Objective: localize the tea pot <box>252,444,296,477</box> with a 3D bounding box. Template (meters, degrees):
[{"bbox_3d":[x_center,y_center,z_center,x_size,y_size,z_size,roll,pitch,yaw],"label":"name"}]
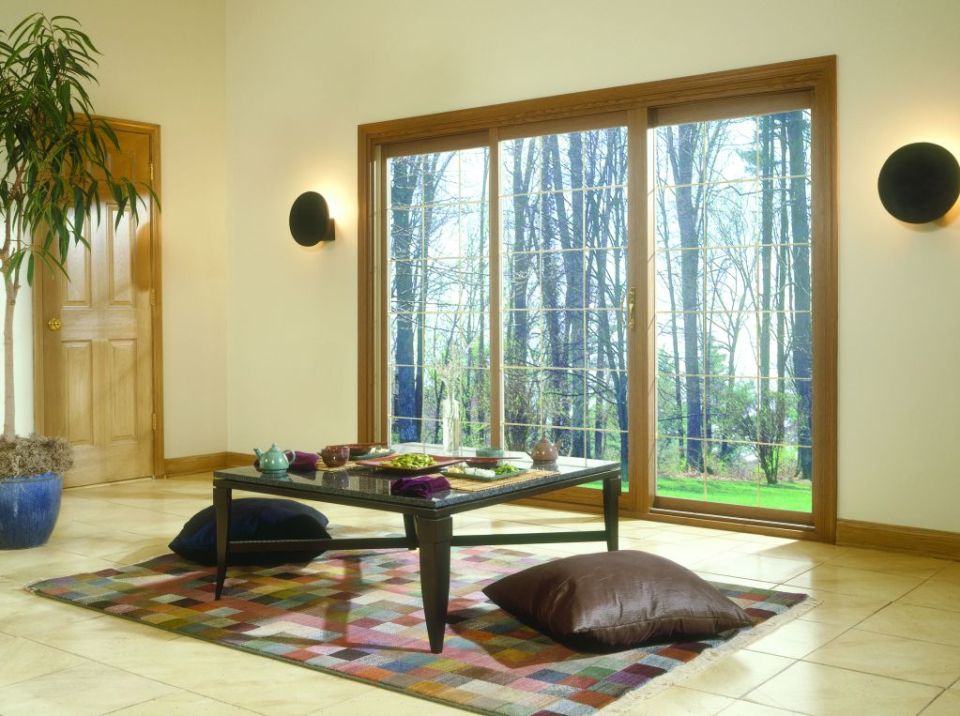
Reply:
[{"bbox_3d":[-1.041,0.484,3.632,0.258,0.141,0.162,3,0,18],"label":"tea pot"}]

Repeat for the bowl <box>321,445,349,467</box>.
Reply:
[{"bbox_3d":[-0.710,0.482,3.683,0.118,0.070,0.115,-2,-6,0],"label":"bowl"}]

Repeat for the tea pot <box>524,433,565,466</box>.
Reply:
[{"bbox_3d":[0.280,0.477,3.849,0.273,0.166,0.186,-2,-1,17],"label":"tea pot"}]
